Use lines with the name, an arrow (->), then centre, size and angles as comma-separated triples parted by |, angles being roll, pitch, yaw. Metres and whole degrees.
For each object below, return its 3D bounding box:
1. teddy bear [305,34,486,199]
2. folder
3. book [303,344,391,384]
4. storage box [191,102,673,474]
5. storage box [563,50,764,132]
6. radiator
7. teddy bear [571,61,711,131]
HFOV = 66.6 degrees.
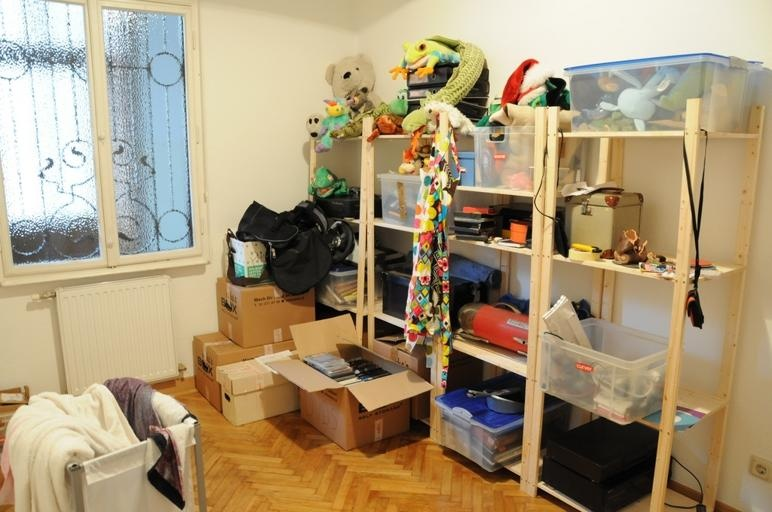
teddy bear -> 0.117, -0.943, 4.151 | 0.592, 1.064, 1.371 | -17, 19, -42
folder -> 0.420, -1.008, 3.876 | 0.401, 0.252, 0.418 | 8, 14, 44
book -> -0.277, 0.732, 3.994 | 0.450, 0.105, 0.469 | -12, 16, -32
storage box -> 0.300, 0.264, 3.729 | 0.707, 1.921, 2.047 | -7, 20, -42
storage box -> 1.358, -0.811, 3.042 | 0.518, 0.253, 0.638 | -7, 9, -38
radiator -> -1.943, 0.533, 4.063 | 0.833, 0.840, 0.087 | -8, 9, -31
teddy bear -> 1.250, -0.772, 3.021 | 0.330, 0.219, 0.476 | -6, 8, -36
